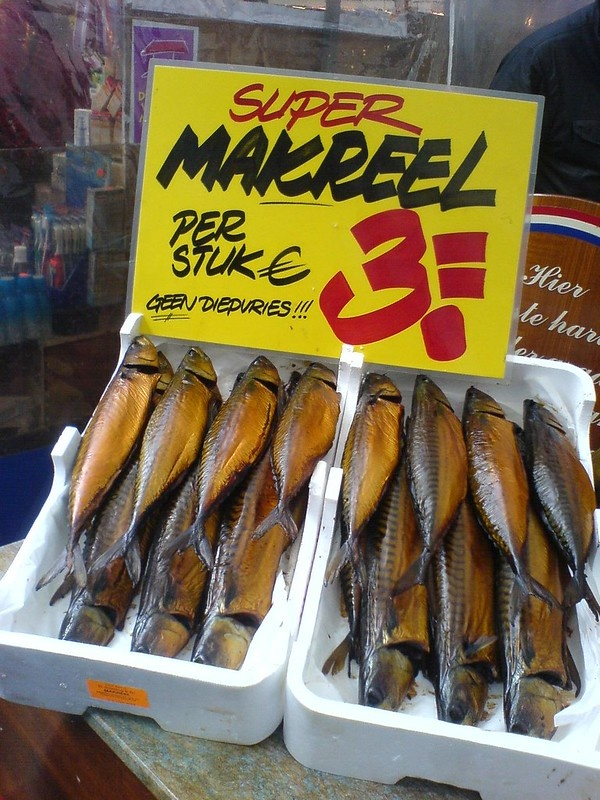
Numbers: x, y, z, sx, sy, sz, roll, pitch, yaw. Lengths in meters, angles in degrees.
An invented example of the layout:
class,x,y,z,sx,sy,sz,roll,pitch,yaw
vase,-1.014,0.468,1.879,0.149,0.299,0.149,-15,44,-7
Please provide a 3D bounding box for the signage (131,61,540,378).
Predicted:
class,x,y,z,sx,sy,sz,roll,pitch,yaw
signage,0.078,-0.452,1.608,0.784,0.573,0.016,10,17,1

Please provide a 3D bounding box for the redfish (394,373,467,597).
class,x,y,z,sx,sy,sz,roll,pitch,yaw
redfish,0.324,0.171,1.523,0.181,0.150,0.722,-1,38,14

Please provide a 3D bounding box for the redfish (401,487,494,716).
class,x,y,z,sx,sy,sz,roll,pitch,yaw
redfish,0.328,0.402,1.268,0.158,0.114,0.385,4,38,12

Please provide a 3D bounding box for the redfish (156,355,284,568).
class,x,y,z,sx,sy,sz,roll,pitch,yaw
redfish,-0.166,0.118,1.552,0.162,0.124,0.662,4,46,17

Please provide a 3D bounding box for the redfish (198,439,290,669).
class,x,y,z,sx,sy,sz,roll,pitch,yaw
redfish,-0.109,0.340,1.403,0.194,0.090,0.509,6,38,6

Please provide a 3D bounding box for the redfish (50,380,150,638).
class,x,y,z,sx,sy,sz,roll,pitch,yaw
redfish,-0.378,0.279,1.506,0.243,0.107,0.613,-28,38,44

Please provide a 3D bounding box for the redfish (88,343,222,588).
class,x,y,z,sx,sy,sz,roll,pitch,yaw
redfish,-0.325,0.121,1.558,0.185,0.147,0.734,9,46,1

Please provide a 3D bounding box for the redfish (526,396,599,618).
class,x,y,z,sx,sy,sz,roll,pitch,yaw
redfish,0.606,0.257,1.431,0.095,0.160,0.491,-12,47,4

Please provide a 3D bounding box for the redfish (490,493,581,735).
class,x,y,z,sx,sy,sz,roll,pitch,yaw
redfish,0.495,0.448,1.324,0.188,0.108,0.480,-18,29,20

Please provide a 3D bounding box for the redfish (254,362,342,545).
class,x,y,z,sx,sy,sz,roll,pitch,yaw
redfish,0.009,0.096,1.565,0.160,0.123,0.623,4,40,12
